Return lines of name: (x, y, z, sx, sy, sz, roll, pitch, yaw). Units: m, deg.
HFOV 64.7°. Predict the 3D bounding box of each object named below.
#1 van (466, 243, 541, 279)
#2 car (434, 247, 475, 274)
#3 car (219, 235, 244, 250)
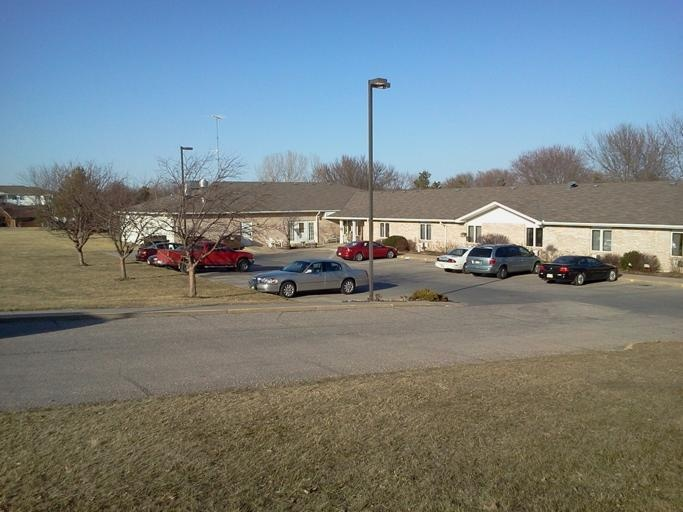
van: (9.798, 0.212, 32.279, 3.820, 1.476, 1.928, -7, 8, -38)
car: (6.998, 0.313, 33.444, 2.578, 0.828, 1.142, -9, 11, -41)
car: (-8.403, -0.996, 41.193, 1.487, 1.097, 0.988, 0, 2, -11)
